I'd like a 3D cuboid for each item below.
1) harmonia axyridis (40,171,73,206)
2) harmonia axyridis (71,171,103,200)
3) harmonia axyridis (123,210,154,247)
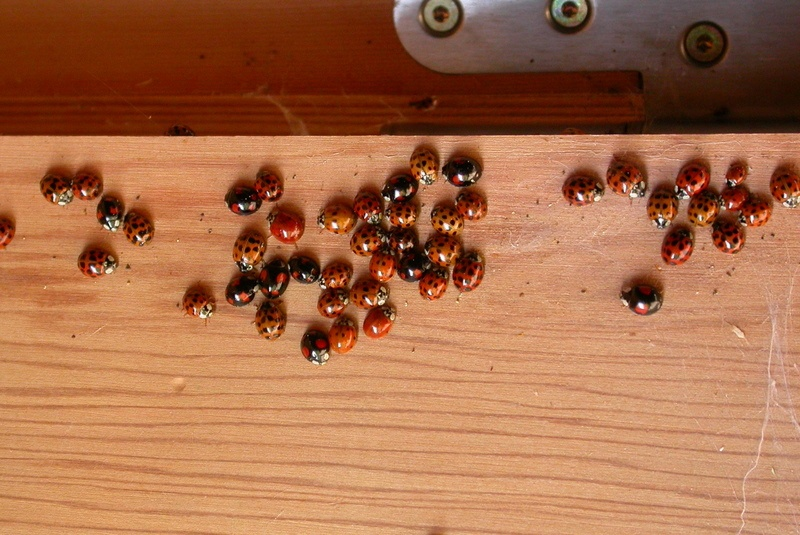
[{"bbox_3d":[-1.749,-0.396,4.201,0.167,0.115,0.134,21,-47,-10],"label":"harmonia axyridis"},{"bbox_3d":[-1.590,-0.413,4.194,0.133,0.117,0.122,-1,-47,11],"label":"harmonia axyridis"},{"bbox_3d":[-1.328,-0.195,4.161,0.147,0.053,0.178,-25,-90,1],"label":"harmonia axyridis"}]
